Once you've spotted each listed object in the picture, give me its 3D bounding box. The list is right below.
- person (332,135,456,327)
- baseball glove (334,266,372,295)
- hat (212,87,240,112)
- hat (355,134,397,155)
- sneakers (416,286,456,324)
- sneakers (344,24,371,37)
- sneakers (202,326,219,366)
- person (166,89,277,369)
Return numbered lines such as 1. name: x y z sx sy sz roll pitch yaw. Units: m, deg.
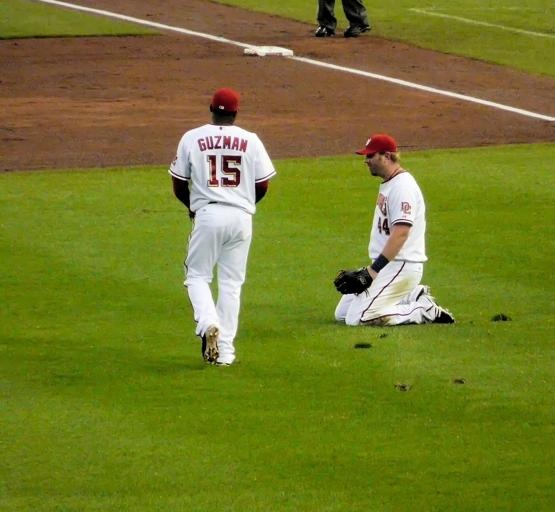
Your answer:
1. person: 1.003 -0.184 10.345 0.921 1.633 0.599 7 16 4
2. baseball glove: 0.640 0.203 10.263 0.314 0.241 0.149 10 16 12
3. hat: -0.407 -1.270 9.711 0.211 0.170 0.299 7 40 1
4. hat: 0.839 -0.957 10.380 0.360 0.181 0.236 -1 8 3
5. sneakers: 1.339 0.434 10.352 0.165 0.198 0.475 -20 28 -18
6. sneakers: 1.593 -4.475 23.992 0.597 0.212 0.257 -6 39 -33
7. sneakers: -0.519 0.692 9.359 0.118 0.292 0.134 -1 0 -14
8. person: -0.464 -0.280 9.625 0.823 2.039 1.010 5 16 -5
